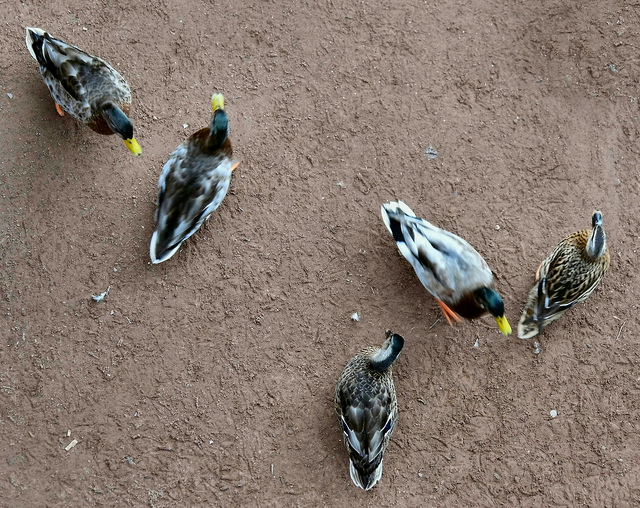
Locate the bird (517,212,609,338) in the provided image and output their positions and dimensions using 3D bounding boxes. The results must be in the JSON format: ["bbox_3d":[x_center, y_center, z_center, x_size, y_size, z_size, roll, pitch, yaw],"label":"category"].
[{"bbox_3d":[2.376,0.217,9.845,0.565,1.316,0.776,39,-2,10],"label":"bird"}]

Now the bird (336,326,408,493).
[{"bbox_3d":[0.451,1.433,9.784,0.606,1.512,0.942,4,-4,-5],"label":"bird"}]

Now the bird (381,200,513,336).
[{"bbox_3d":[1.201,0.192,9.918,0.373,1.042,0.593,-38,13,16],"label":"bird"}]
